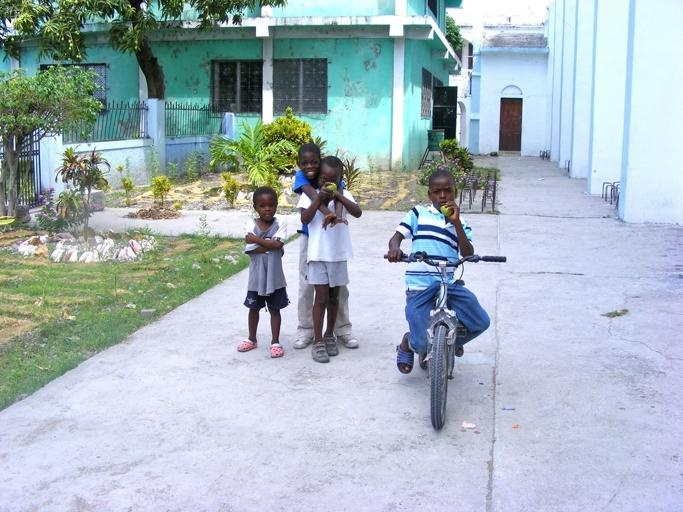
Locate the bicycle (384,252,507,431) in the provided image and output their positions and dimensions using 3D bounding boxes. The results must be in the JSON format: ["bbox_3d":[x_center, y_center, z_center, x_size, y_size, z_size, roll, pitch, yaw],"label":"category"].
[{"bbox_3d":[0.758,0.588,5.069,0.606,1.234,0.974,-1,10,-1],"label":"bicycle"}]

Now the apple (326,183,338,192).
[{"bbox_3d":[-0.085,-0.589,5.725,0.061,0.063,0.082,15,20,41],"label":"apple"}]

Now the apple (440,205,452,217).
[{"bbox_3d":[0.768,-0.339,5.021,0.111,0.090,0.087,8,13,41],"label":"apple"}]

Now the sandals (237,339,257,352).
[{"bbox_3d":[-0.869,0.836,6.200,0.080,0.070,0.165,-1,-3,27],"label":"sandals"}]

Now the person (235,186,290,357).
[{"bbox_3d":[-0.726,0.124,6.169,0.470,1.521,0.502,1,10,8],"label":"person"}]

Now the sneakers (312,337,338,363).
[{"bbox_3d":[-0.151,0.839,6.067,0.205,0.163,0.329,3,10,18],"label":"sneakers"}]

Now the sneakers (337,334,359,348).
[{"bbox_3d":[0.058,0.804,6.343,0.087,0.092,0.231,-3,2,-30],"label":"sneakers"}]

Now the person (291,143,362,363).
[{"bbox_3d":[-0.150,-0.073,6.127,0.597,1.896,0.710,-4,10,-17],"label":"person"}]

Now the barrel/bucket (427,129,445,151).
[{"bbox_3d":[3.289,-4.051,23.343,0.583,0.767,1.277,1,10,7],"label":"barrel/bucket"}]
